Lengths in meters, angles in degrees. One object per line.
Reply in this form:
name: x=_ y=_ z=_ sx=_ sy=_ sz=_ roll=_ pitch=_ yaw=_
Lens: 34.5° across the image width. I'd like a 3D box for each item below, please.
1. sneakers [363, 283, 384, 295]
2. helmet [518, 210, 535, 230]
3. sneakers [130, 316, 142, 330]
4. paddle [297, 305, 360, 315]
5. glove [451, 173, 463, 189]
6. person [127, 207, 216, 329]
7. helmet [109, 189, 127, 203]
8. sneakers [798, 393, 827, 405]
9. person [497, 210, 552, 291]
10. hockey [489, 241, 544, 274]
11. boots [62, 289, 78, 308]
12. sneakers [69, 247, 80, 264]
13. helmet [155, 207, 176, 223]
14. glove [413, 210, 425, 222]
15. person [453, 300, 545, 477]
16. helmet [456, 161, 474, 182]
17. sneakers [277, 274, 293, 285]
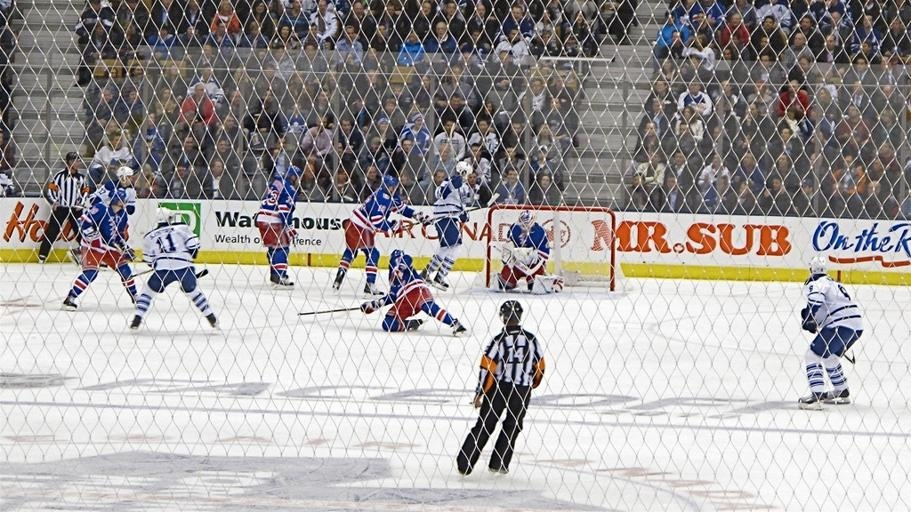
sneakers: x=-1.474 y=0.597 z=25.893 sx=0.407 sy=0.272 sz=0.159 roll=1 pitch=0 yaw=3
helmet: x=1.267 y=-0.639 z=26.223 sx=0.227 sy=0.306 sz=0.288 roll=5 pitch=28 yaw=-8
sneakers: x=-4.931 y=1.033 z=22.609 sx=0.128 sy=0.227 sz=0.059 roll=7 pitch=-15 yaw=1
paddle: x=-2.098 y=0.898 z=24.021 sx=1.463 sy=0.075 sz=0.152 roll=0 pitch=-4 yaw=-33
glove: x=0.053 y=-1.338 z=26.247 sx=0.056 sy=0.230 sz=0.231 roll=1 pitch=17 yaw=-33
person: x=-4.420 y=0.225 z=22.759 sx=1.240 sy=1.835 sz=0.604 roll=0 pitch=8 yaw=-14
helmet: x=-5.637 y=-1.017 z=24.414 sx=0.217 sy=0.229 sz=0.170 roll=-12 pitch=21 yaw=-34
sneakers: x=4.927 y=1.966 z=20.170 sx=0.444 sy=0.216 sz=0.166 roll=-1 pitch=3 yaw=-6
person: x=1.220 y=-0.048 z=26.635 sx=0.934 sy=1.692 sz=0.892 roll=9 pitch=24 yaw=17
hockey: x=1.240 y=0.041 z=26.511 sx=0.816 sy=0.555 sz=0.132 roll=4 pitch=8 yaw=15
boots: x=-6.380 y=0.705 z=24.197 sx=0.229 sy=0.332 sz=0.320 roll=0 pitch=8 yaw=-15
sneakers: x=-7.390 y=-0.044 z=28.375 sx=0.259 sy=0.277 sz=0.092 roll=28 pitch=64 yaw=33
helmet: x=-4.560 y=-0.616 z=22.905 sx=0.205 sy=0.258 sz=0.268 roll=2 pitch=22 yaw=15
glove: x=-0.619 y=-0.692 z=25.816 sx=0.197 sy=0.232 sz=0.373 roll=2 pitch=7 yaw=2
person: x=0.568 y=1.645 z=18.133 sx=1.036 sy=2.161 sz=0.505 roll=2 pitch=7 yaw=-1
helmet: x=0.166 y=-1.541 z=25.887 sx=0.337 sy=0.355 sz=0.259 roll=-23 pitch=23 yaw=-35
sneakers: x=-3.088 y=0.442 z=26.477 sx=0.138 sy=0.182 sz=0.400 roll=-2 pitch=1 yaw=-44
